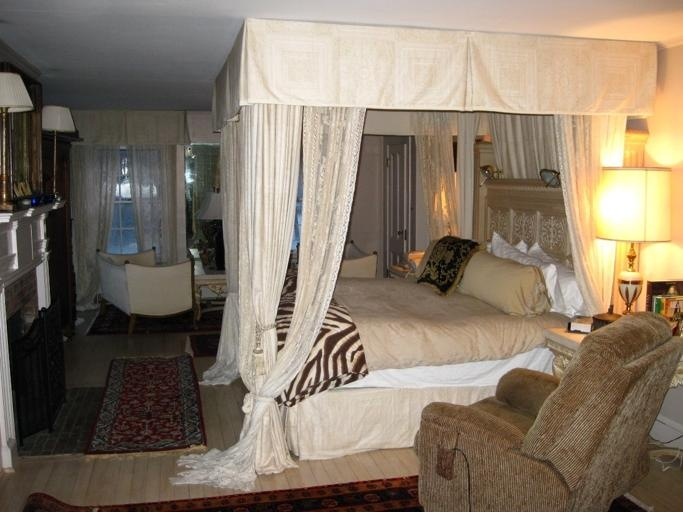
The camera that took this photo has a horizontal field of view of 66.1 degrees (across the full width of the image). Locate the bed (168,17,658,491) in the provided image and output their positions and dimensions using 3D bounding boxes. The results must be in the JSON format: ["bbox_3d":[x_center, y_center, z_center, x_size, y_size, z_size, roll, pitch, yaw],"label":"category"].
[{"bbox_3d":[0.207,-0.142,5.472,3.148,2.736,3.300,1,7,-14],"label":"bed"}]

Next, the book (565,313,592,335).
[{"bbox_3d":[1.860,0.506,4.105,0.149,0.070,0.219,3,4,20],"label":"book"}]

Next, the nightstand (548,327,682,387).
[{"bbox_3d":[1.545,0.560,2.912,0.418,0.314,0.644,-2,8,-25],"label":"nightstand"}]

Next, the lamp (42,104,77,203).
[{"bbox_3d":[-3.129,-1.178,5.836,0.305,0.973,1.110,-5,11,-28],"label":"lamp"}]

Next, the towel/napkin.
[{"bbox_3d":[-0.183,0.681,4.245,0.494,0.261,0.840,-9,11,-19],"label":"towel/napkin"}]

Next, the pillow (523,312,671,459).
[{"bbox_3d":[1.460,0.732,3.002,0.858,0.863,0.448,14,12,-43],"label":"pillow"}]

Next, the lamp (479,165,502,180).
[{"bbox_3d":[1.718,-0.974,6.043,0.195,0.187,0.157,-7,14,-22],"label":"lamp"}]
